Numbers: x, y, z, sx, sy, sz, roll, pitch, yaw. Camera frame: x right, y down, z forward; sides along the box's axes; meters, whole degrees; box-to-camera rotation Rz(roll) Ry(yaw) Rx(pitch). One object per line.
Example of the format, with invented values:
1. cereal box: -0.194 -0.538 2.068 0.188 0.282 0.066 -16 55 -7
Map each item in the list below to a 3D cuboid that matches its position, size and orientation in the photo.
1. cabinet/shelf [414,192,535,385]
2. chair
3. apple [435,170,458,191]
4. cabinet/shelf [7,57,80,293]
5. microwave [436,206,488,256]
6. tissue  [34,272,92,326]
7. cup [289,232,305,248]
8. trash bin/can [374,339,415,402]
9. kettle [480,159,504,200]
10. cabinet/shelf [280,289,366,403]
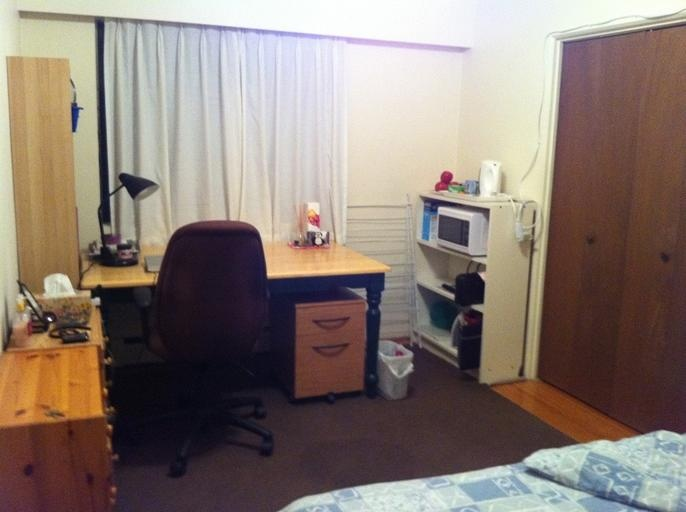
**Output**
1. cabinet/shelf: 0.933 0.221 3.940 0.417 1.536 1.065 -2 10 -13
2. chair: -0.699 0.403 3.059 0.644 1.269 0.582 -5 14 -20
3. apple: 0.777 -0.576 4.309 0.179 0.187 0.108 -1 12 -26
4. cabinet/shelf: -1.532 -0.412 2.922 0.303 1.170 0.139 -3 14 -11
5. microwave: 0.859 -0.176 3.984 0.225 0.299 0.411 -4 13 -27
6. tissue : -1.350 0.211 2.757 0.233 0.251 0.232 -3 9 -32
7. cup: -0.315 -0.121 4.025 0.107 0.123 0.105 2 5 0
8. trash bin/can: 0.330 0.745 3.718 0.231 0.286 0.355 -1 9 -18
9. kettle: 1.003 -0.540 3.911 0.137 0.252 0.134 5 35 9
10. cabinet/shelf: -0.114 0.554 3.520 0.426 0.657 0.661 -1 3 -15
